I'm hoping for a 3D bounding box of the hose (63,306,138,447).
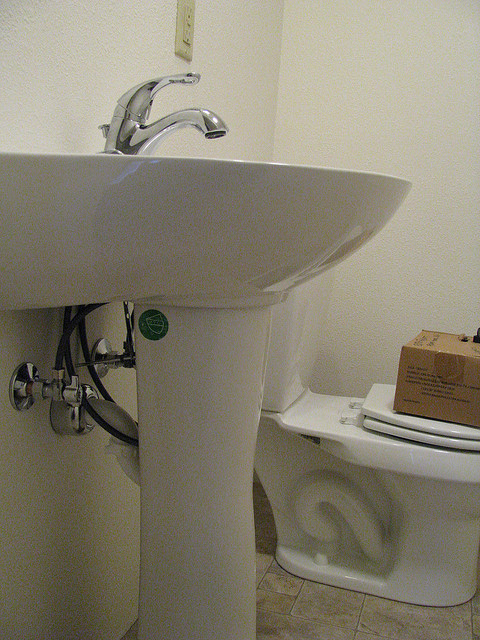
[{"bbox_3d":[-0.171,0.065,0.771,0.066,0.179,0.081,4,10,1],"label":"hose"}]

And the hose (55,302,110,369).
[{"bbox_3d":[-0.185,0.016,0.715,0.037,0.079,0.050,5,12,9],"label":"hose"}]

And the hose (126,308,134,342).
[{"bbox_3d":[-0.146,0.009,0.805,0.006,0.046,0.005,9,-3,-14],"label":"hose"}]
